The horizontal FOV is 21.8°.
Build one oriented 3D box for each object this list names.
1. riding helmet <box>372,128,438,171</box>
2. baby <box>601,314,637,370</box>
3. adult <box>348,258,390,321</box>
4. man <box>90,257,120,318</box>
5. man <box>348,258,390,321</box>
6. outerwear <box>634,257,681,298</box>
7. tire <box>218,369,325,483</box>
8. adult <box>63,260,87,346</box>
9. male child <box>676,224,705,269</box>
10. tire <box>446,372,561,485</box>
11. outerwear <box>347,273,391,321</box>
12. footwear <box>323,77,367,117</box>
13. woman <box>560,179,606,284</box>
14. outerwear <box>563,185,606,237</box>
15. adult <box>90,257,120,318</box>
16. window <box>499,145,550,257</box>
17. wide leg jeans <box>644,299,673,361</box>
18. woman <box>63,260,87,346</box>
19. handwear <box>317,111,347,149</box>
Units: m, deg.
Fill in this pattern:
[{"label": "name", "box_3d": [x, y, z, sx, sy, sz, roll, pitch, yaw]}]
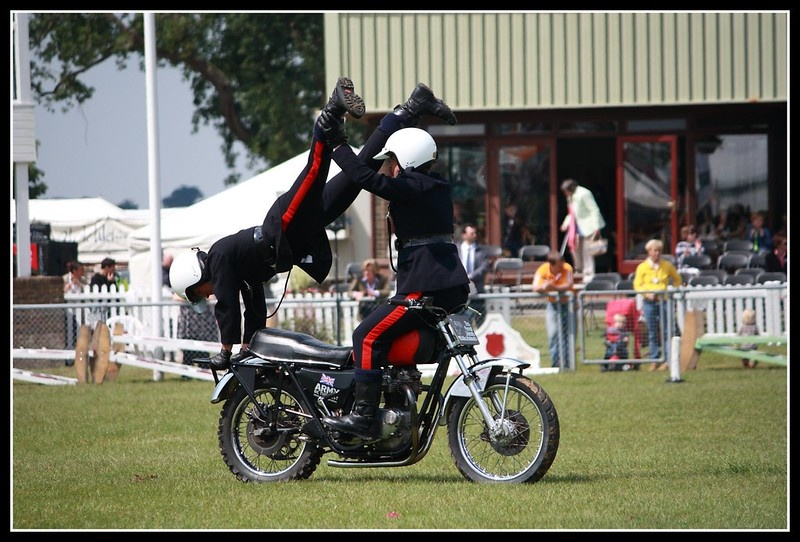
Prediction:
[{"label": "riding helmet", "box_3d": [0.123, -1.742, 29.561, 0.678, 0.434, 0.501, 0, 7, 17]}, {"label": "baby", "box_3d": [3.810, 1.183, 35.288, 0.471, 0.917, 0.441, 7, 28, 22]}, {"label": "adult", "box_3d": [-0.527, 0.456, 37.228, 0.523, 1.337, 0.632, 1, 19, 4]}, {"label": "man", "box_3d": [-5.213, 0.634, 36.714, 0.455, 1.822, 0.508, 4, 23, 3]}, {"label": "man", "box_3d": [-0.519, 0.506, 37.177, 0.643, 1.465, 0.680, 3, 6, 39]}, {"label": "outerwear", "box_3d": [4.488, 0.103, 35.735, 0.852, 0.854, 0.556, 1, -14, 5]}, {"label": "tire", "box_3d": [-1.834, 2.224, 29.884, 1.327, 1.630, 0.478, 0, 3, 12]}, {"label": "adult", "box_3d": [-5.616, 0.561, 36.125, 0.358, 0.313, 1.247, 0, 42, -19]}, {"label": "male child", "box_3d": [5.665, -0.491, 40.433, 0.501, 0.848, 0.252, -2, -22, 19]}, {"label": "tire", "box_3d": [1.585, 2.231, 29.919, 1.585, 1.672, 1.187, 4, 9, 18]}, {"label": "outerwear", "box_3d": [-0.513, 0.464, 35.416, 0.692, 0.671, 1.843, 0, 13, 1]}, {"label": "footwear", "box_3d": [-0.740, -2.529, 29.640, 0.328, 0.479, 1.069, 5, 4, -14]}, {"label": "woman", "box_3d": [3.627, -0.809, 40.476, 0.807, 2.126, 0.712, 6, 16, 40]}, {"label": "outerwear", "box_3d": [3.618, -1.147, 40.639, 0.463, 0.798, 0.752, -28, 15, -12]}, {"label": "adult", "box_3d": [-5.223, 0.308, 36.309, 0.469, 0.972, 0.885, 0, 9, -7]}, {"label": "window", "box_3d": [2.578, -1.314, 42.247, 1.365, 0.277, 3.518, -1, 51, 4]}, {"label": "wide leg jeans", "box_3d": [4.413, 0.999, 35.142, 0.486, 0.996, 0.213, 1, -3, -2]}, {"label": "woman", "box_3d": [-5.698, 0.567, 36.123, 0.395, 1.373, 0.833, 1, 9, -3]}, {"label": "handwear", "box_3d": [-0.962, -2.040, 29.573, 0.361, 0.530, 0.234, -19, 8, -8]}]
